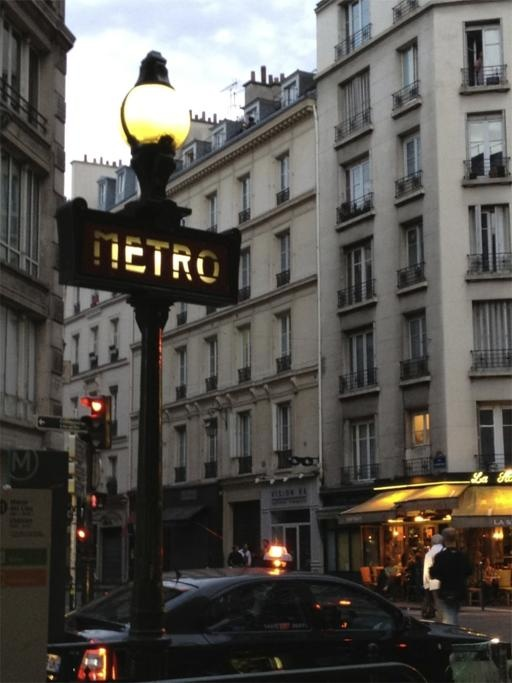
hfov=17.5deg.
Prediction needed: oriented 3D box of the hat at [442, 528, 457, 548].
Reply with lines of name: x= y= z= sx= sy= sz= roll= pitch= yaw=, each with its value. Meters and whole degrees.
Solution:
hat: x=2.462 y=2.530 z=21.264 sx=0.185 sy=0.383 sz=0.219 roll=1 pitch=4 yaw=7

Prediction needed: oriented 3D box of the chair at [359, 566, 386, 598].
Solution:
chair: x=2.657 y=5.626 z=38.806 sx=0.609 sy=1.013 sz=0.639 roll=4 pitch=-6 yaw=-25

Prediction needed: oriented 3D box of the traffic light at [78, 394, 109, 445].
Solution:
traffic light: x=-2.149 y=1.068 z=22.054 sx=0.392 sy=0.897 sz=1.107 roll=-1 pitch=-13 yaw=-6

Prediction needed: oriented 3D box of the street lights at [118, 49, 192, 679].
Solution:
street lights: x=-0.790 y=0.146 z=13.045 sx=0.525 sy=4.908 sz=0.870 roll=-1 pitch=-11 yaw=-6

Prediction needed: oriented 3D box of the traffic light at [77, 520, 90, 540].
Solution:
traffic light: x=-2.496 y=2.717 z=23.701 sx=0.206 sy=0.327 sz=0.104 roll=5 pitch=3 yaw=44
